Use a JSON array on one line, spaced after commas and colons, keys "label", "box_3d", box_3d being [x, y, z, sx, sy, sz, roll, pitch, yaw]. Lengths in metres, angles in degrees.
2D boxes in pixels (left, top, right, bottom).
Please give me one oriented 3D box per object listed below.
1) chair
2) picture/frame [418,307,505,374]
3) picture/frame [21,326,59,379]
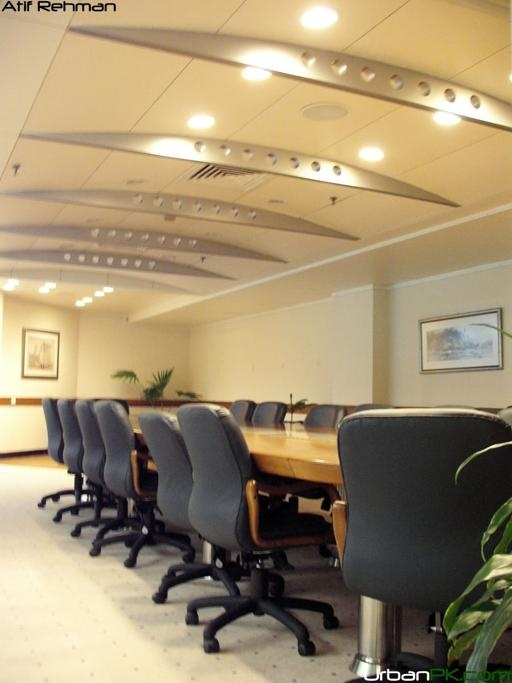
[{"label": "chair", "box_3d": [0.191, 0.372, 1.208, 0.462, 0.520, 0.451, 7, -11, -25]}, {"label": "picture/frame", "box_3d": [2.564, -0.002, 6.640, 0.034, 0.581, 0.875, 7, -9, -37]}, {"label": "picture/frame", "box_3d": [-4.201, 0.226, 10.420, 0.086, 1.022, 1.014, -2, -6, 28]}]
